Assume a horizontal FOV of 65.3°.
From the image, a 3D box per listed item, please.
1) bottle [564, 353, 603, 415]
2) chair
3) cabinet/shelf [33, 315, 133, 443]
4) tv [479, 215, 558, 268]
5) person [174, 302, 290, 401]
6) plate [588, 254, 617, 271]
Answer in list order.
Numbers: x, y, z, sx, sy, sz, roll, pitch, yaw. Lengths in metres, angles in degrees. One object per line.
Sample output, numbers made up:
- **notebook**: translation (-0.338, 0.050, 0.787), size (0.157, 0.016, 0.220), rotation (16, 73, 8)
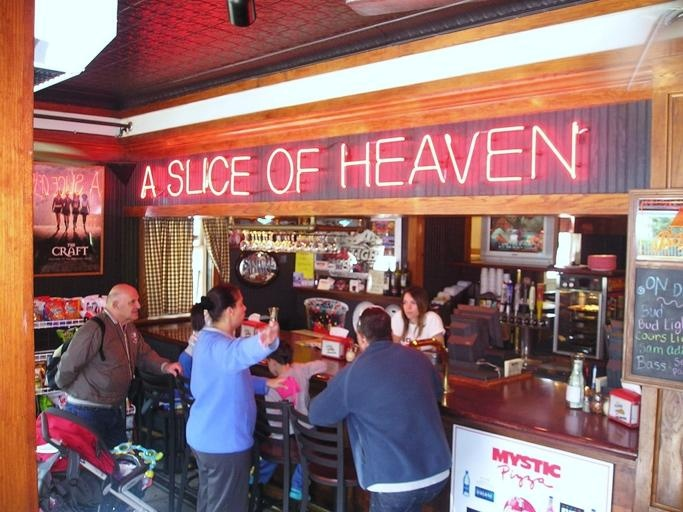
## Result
- **bottle**: translation (1.761, 0.900, 3.892), size (0.238, 0.383, 0.333), rotation (-1, 1, 25)
- **chair**: translation (-0.672, 1.361, 3.961), size (0.783, 0.942, 1.379), rotation (4, -8, -25)
- **cabinet/shelf**: translation (-2.495, 0.943, 4.834), size (0.885, 1.335, 0.400), rotation (0, -2, -17)
- **tv**: translation (2.423, -0.202, 7.370), size (1.030, 0.711, 0.354), rotation (-1, 1, 24)
- **person**: translation (-0.885, 0.773, 4.193), size (0.918, 0.257, 0.361), rotation (18, 14, 43)
- **plate**: translation (3.239, 0.087, 6.672), size (0.231, 0.146, 0.233), rotation (1, 0, 13)
